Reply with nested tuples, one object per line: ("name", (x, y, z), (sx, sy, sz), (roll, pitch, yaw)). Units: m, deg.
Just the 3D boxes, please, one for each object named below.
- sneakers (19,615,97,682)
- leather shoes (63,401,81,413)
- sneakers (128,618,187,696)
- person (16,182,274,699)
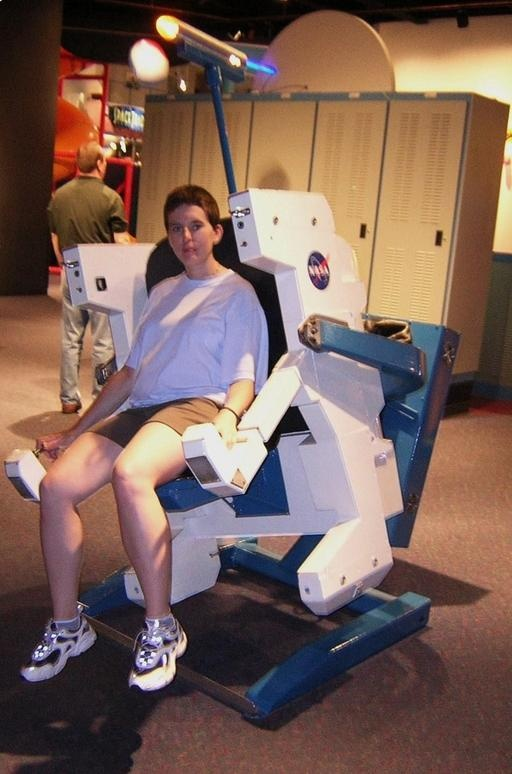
("sneakers", (-0.412, 0.544, 1.309), (0.069, 0.094, 0.195), (7, 18, 20))
("leather shoes", (-1.180, 0.132, 3.768), (0.045, 0.052, 0.135), (-1, 2, 3))
("sneakers", (-0.176, 0.517, 1.183), (0.069, 0.088, 0.201), (3, 7, 9))
("person", (-0.269, 0.069, 1.399), (0.534, 1.173, 0.601), (4, 3, 10))
